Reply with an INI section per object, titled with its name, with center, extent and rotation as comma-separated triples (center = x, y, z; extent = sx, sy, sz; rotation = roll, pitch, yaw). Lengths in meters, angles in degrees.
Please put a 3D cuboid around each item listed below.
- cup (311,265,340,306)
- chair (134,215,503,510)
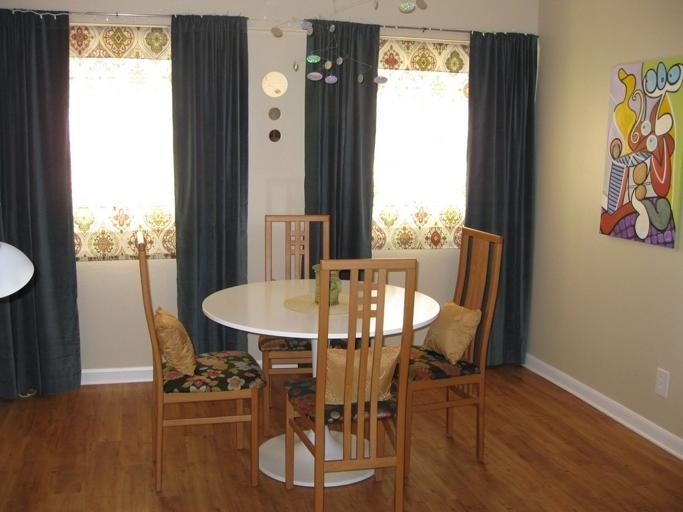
[cup]
center = -0.083, 0.181, 3.564
extent = 0.185, 0.229, 0.185
rotation = 1, 1, 0
[chair]
center = -0.059, 0.620, 3.482
extent = 1.890, 1.431, 1.164
rotation = 1, 12, 14
